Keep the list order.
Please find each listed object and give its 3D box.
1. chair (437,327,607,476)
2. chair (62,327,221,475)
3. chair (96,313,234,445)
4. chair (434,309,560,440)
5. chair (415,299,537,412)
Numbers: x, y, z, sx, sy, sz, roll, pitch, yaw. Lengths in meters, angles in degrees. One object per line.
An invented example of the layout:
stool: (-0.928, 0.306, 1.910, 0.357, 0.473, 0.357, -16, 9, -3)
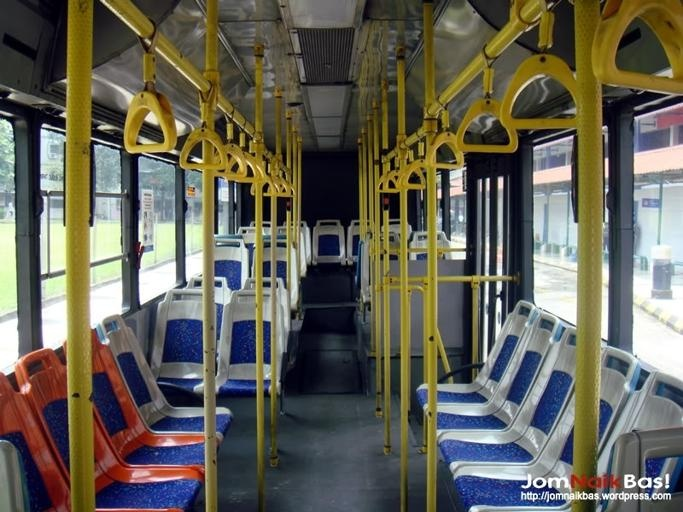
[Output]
chair: (1.014, 0.838, 3.686, 0.615, 0.853, 0.513, -3, 16, -5)
chair: (-1.156, 0.904, 3.692, 0.651, 0.916, 0.593, 4, 1, -4)
chair: (-1.319, 0.825, 4.378, 0.942, 1.252, 0.754, -3, 1, -6)
chair: (1.095, 0.841, 4.304, 0.798, 1.118, 0.714, 3, 1, -4)
chair: (1.064, 0.764, 4.336, 0.672, 0.852, 0.491, 8, 5, -3)
